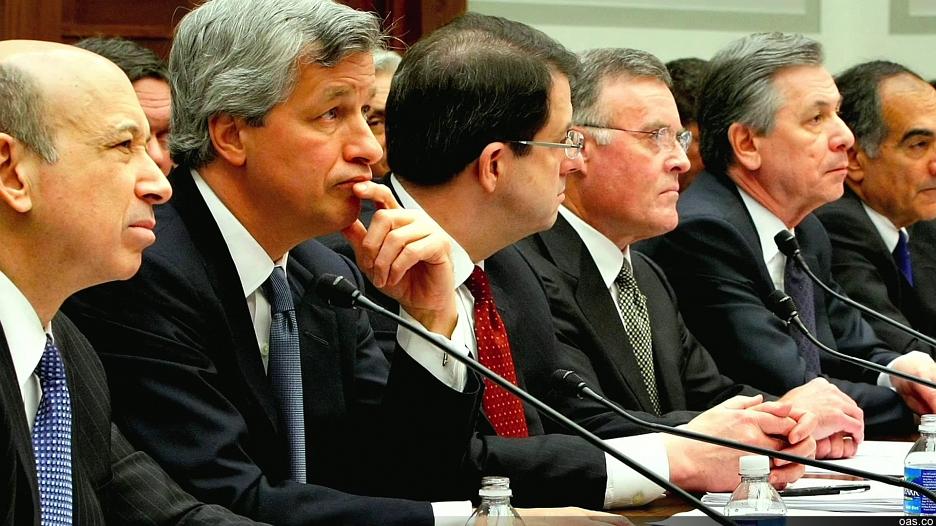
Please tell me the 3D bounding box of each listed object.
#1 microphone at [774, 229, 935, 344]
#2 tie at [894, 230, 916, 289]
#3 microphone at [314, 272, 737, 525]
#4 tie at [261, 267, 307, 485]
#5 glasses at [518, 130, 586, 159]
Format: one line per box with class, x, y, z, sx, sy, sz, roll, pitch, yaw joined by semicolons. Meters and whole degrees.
microphone;1.782;0.124;3.953;0.842;0.190;0.093;33;-27;15
tie;2.328;-0.004;4.530;0.083;0.317;0.102;-6;-5;10
microphone;0.129;0.421;2.541;1.352;0.129;0.140;24;39;9
tie;-0.507;0.307;2.408;0.100;0.661;0.083;-5;-2;12
glasses;0.287;-0.396;2.831;0.179;0.049;0.132;0;6;-5
